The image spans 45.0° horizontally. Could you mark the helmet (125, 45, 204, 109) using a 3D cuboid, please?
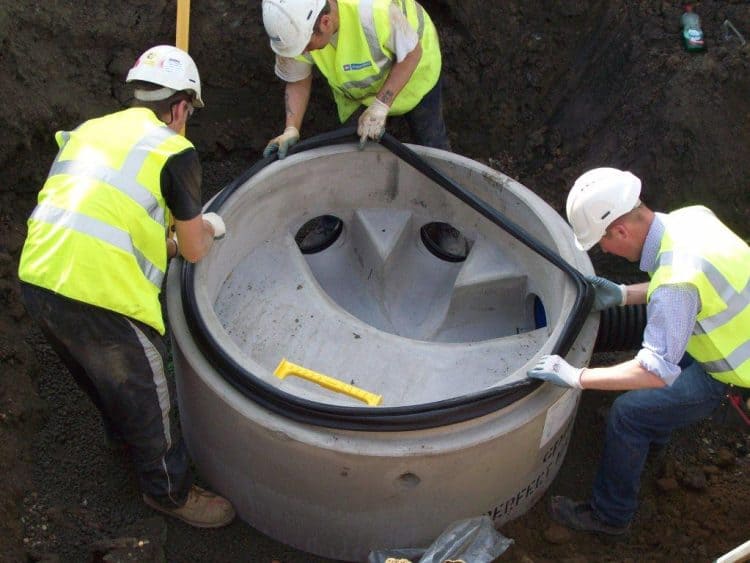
[{"bbox_3d":[-1.139,-1.179,5.054,0.343,0.302,0.522,16,5,26],"label":"helmet"}]

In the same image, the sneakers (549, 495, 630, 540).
[{"bbox_3d":[1.296,1.435,5.478,0.421,0.186,0.231,16,50,1],"label":"sneakers"}]

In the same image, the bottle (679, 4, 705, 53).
[{"bbox_3d":[2.444,-1.953,6.963,0.161,0.116,0.330,-2,78,0],"label":"bottle"}]

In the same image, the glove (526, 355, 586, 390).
[{"bbox_3d":[0.999,0.504,5.015,0.264,0.099,0.167,14,77,19],"label":"glove"}]

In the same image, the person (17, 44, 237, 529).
[{"bbox_3d":[-1.372,0.135,5.095,1.028,2.077,1.644,0,49,-9],"label":"person"}]

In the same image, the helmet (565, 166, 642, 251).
[{"bbox_3d":[1.243,-0.443,4.980,0.325,0.487,0.363,55,25,-12],"label":"helmet"}]

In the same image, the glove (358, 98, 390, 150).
[{"bbox_3d":[-0.024,-1.003,5.774,0.159,0.280,0.082,36,10,17],"label":"glove"}]

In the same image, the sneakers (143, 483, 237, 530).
[{"bbox_3d":[-1.075,1.362,5.434,0.540,0.237,0.257,13,55,2],"label":"sneakers"}]
